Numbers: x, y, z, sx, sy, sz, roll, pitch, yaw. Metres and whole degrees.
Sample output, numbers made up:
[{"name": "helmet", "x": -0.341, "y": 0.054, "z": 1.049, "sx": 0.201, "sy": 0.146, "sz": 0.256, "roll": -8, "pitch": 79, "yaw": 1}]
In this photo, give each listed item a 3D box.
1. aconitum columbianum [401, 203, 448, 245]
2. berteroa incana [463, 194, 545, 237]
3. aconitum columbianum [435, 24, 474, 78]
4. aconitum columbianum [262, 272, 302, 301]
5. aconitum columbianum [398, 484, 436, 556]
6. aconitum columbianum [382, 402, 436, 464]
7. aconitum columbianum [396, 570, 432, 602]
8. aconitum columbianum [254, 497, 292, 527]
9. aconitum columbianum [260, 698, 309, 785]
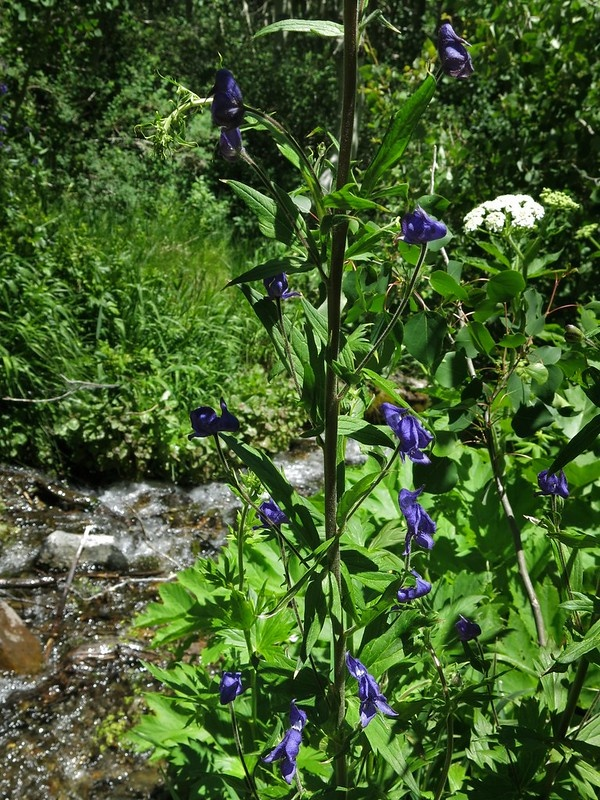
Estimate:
[{"name": "aconitum columbianum", "x": 0.216, "y": -0.301, "z": 1.328, "sx": 0.079, "sy": 0.064, "sz": 0.056, "roll": 8, "pitch": 17, "yaw": 6}, {"name": "berteroa incana", "x": 0.605, "y": -0.546, "z": 2.267, "sx": 0.152, "sy": 0.119, "sz": 0.360, "roll": 3, "pitch": 16, "yaw": -9}, {"name": "aconitum columbianum", "x": 0.277, "y": -0.615, "z": 1.343, "sx": 0.112, "sy": 0.042, "sz": 0.096, "roll": -1, "pitch": 22, "yaw": 11}, {"name": "aconitum columbianum", "x": -0.035, "y": -0.224, "z": 1.517, "sx": 0.060, "sy": 0.063, "sz": 0.038, "roll": 28, "pitch": 43, "yaw": -25}, {"name": "aconitum columbianum", "x": 0.221, "y": 0.230, "z": 1.508, "sx": 0.072, "sy": 0.136, "sz": 0.078, "roll": -3, "pitch": 11, "yaw": -8}, {"name": "aconitum columbianum", "x": 0.199, "y": 0.069, "z": 1.439, "sx": 0.103, "sy": 0.115, "sz": 0.055, "roll": 6, "pitch": 18, "yaw": -1}, {"name": "aconitum columbianum", "x": 0.238, "y": 0.368, "z": 1.556, "sx": 0.077, "sy": 0.070, "sz": 0.037, "roll": 10, "pitch": 30, "yaw": -18}, {"name": "aconitum columbianum", "x": -0.059, "y": 0.236, "z": 1.601, "sx": 0.071, "sy": 0.032, "sz": 0.059, "roll": 32, "pitch": 27, "yaw": 9}, {"name": "aconitum columbianum", "x": -0.064, "y": 0.632, "z": 1.485, "sx": 0.106, "sy": 0.159, "sz": 0.160, "roll": -4, "pitch": 3, "yaw": -3}]
